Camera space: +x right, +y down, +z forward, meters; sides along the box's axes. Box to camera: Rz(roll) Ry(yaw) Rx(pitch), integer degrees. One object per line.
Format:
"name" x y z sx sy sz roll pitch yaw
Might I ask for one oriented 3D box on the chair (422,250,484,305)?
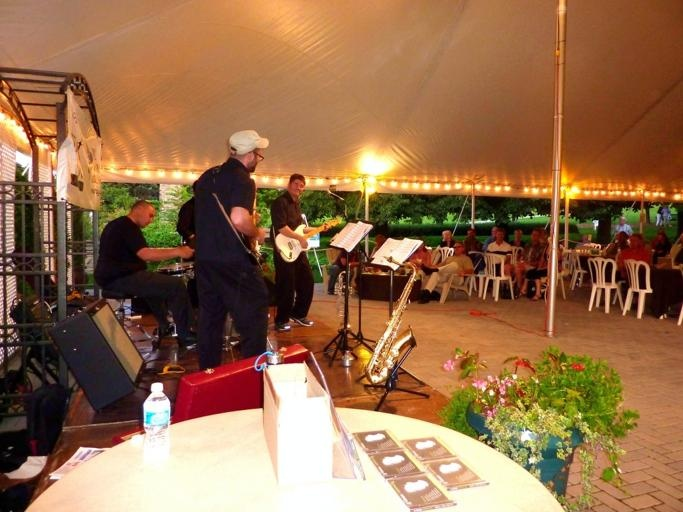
"chair" 2.130 0.346 10.760 0.796 0.805 1.341 -1 -1 36

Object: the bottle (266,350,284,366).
"bottle" -0.309 0.480 2.495 0.060 0.047 0.061 0 2 0

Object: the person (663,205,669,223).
"person" 16.444 -2.124 26.726 0.252 0.812 0.893 -1 0 33

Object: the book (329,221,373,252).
"book" 0.100 -0.201 5.255 0.440 0.303 0.312 0 0 8

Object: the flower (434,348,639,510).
"flower" 1.039 0.813 3.014 0.957 0.804 1.099 -1 3 12

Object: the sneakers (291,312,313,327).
"sneakers" -0.553 0.900 7.446 0.309 0.147 0.124 6 3 -5

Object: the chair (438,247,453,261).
"chair" 2.427 -0.054 12.231 0.324 0.460 0.330 -1 -3 5

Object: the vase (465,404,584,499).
"vase" 0.958 1.003 2.815 0.476 0.353 0.475 -1 0 -4

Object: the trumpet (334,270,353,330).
"trumpet" 0.022 0.771 10.360 0.245 0.881 0.385 0 -6 -4

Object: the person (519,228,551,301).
"person" 4.151 0.140 11.421 0.589 1.246 0.948 -1 0 22

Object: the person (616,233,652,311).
"person" 5.311 0.077 9.521 0.405 0.870 0.566 4 1 -26

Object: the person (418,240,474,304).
"person" 2.163 0.330 10.829 0.718 1.588 0.938 -3 -18 44

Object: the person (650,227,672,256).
"person" 7.781 -0.337 12.857 0.365 0.664 0.960 -1 -1 30

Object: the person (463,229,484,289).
"person" 3.096 0.082 12.482 0.468 1.463 0.435 12 31 39

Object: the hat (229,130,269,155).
"hat" -0.717 -0.924 4.194 0.299 0.144 0.227 -19 30 -37

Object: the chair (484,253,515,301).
"chair" 3.285 0.419 11.077 0.648 0.775 1.234 -1 -1 22

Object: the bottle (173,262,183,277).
"bottle" -1.827 0.152 5.923 0.110 0.071 0.111 3 9 0

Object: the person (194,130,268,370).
"person" -0.865 -0.052 4.191 0.566 1.889 0.490 0 0 -16

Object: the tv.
"tv" -2.113 0.901 4.519 0.285 0.774 0.810 -21 15 -4
